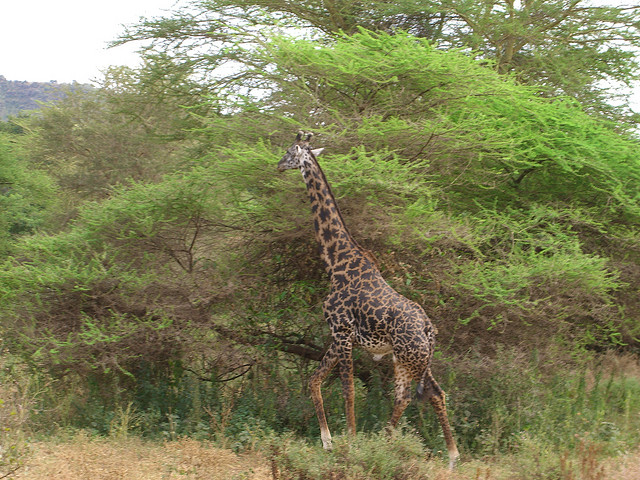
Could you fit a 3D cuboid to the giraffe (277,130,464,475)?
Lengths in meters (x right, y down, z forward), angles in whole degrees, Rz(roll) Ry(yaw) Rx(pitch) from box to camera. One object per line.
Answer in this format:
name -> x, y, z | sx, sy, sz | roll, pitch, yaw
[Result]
giraffe -> 0.746, 1.035, 12.552 | 3.599, 5.897, 0.988 | 9, -16, -15
